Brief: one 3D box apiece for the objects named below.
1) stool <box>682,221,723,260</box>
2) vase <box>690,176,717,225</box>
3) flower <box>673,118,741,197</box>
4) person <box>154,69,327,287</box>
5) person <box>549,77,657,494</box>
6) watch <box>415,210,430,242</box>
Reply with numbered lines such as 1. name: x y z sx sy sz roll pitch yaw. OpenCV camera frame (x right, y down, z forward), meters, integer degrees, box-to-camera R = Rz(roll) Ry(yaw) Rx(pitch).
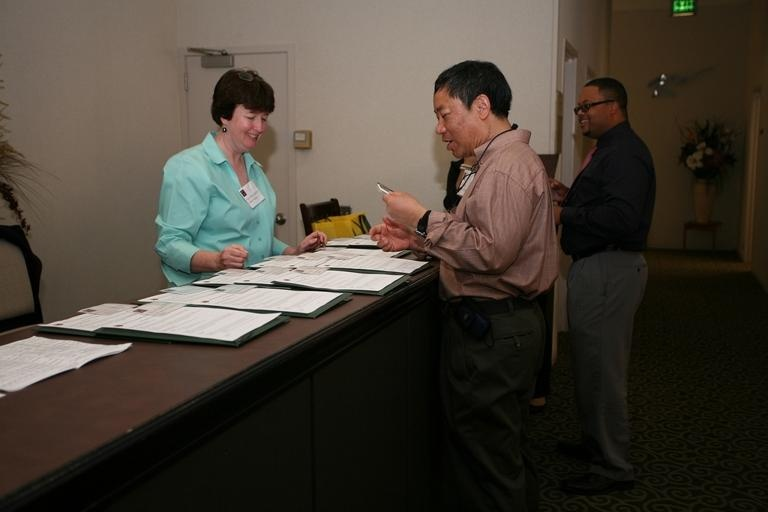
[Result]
1. stool: 6.114 -0.371 10.129 0.619 0.621 0.844 5 12 31
2. vase: 6.039 -1.040 9.897 0.363 0.816 0.316 5 10 33
3. flower: 5.998 -1.745 9.931 0.790 0.985 0.770 -2 -7 -7
4. person: -0.805 -0.430 2.588 0.393 0.969 0.650 3 10 23
5. person: 1.214 0.279 2.954 0.597 1.998 0.490 -8 11 -40
6. watch: 0.158 -0.120 2.116 0.092 0.114 0.069 0 6 -5
